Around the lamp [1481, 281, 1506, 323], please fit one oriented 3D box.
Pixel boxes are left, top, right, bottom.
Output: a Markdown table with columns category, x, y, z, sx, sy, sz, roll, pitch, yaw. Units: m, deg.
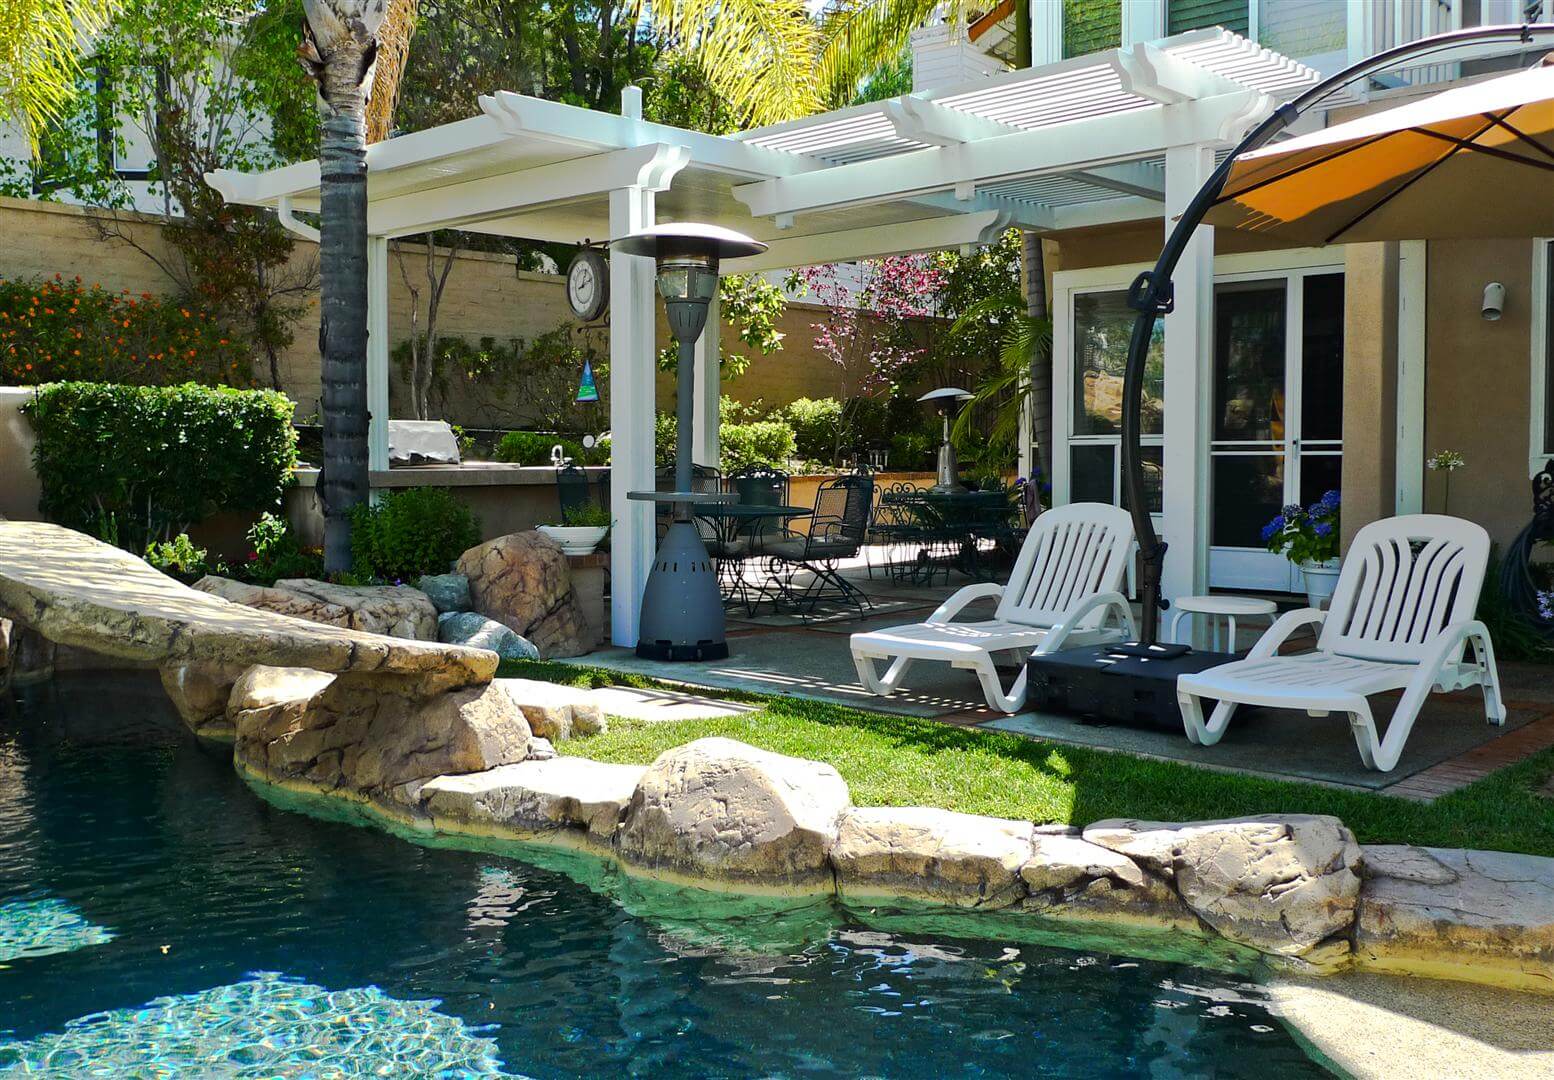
| category | x | y | z | sx | sy | sz | roll | pitch | yaw |
| --- | --- | --- | --- | --- | --- | --- | --- | --- | --- |
| lamp | 5.660 | -1.881 | 10.391 | 0.199 | 0.306 | 0.194 | 18 | -33 | 10 |
